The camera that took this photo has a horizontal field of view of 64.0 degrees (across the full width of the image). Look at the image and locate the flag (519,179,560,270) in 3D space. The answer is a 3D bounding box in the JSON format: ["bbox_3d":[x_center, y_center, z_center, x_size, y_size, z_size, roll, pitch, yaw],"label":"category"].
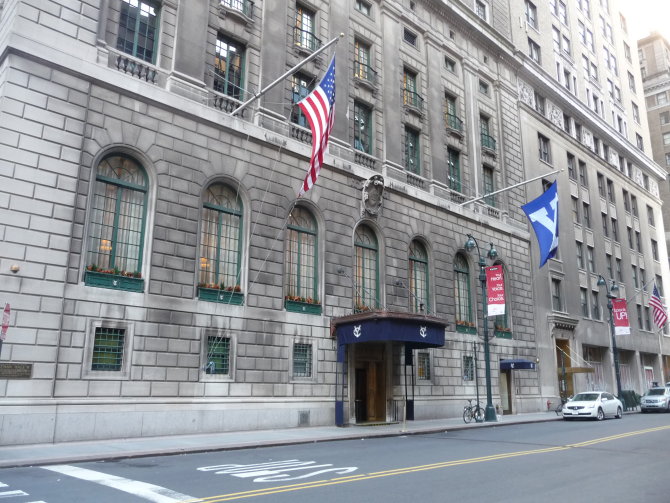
[{"bbox_3d":[13.272,-1.971,34.189,2.103,6.145,0.571,-7,-30,27],"label":"flag"}]

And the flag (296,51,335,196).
[{"bbox_3d":[-0.795,-5.562,23.478,1.728,8.406,0.530,5,-24,7],"label":"flag"}]

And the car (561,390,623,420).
[{"bbox_3d":[15.654,9.362,32.712,3.712,1.755,1.953,10,-20,-27],"label":"car"}]
